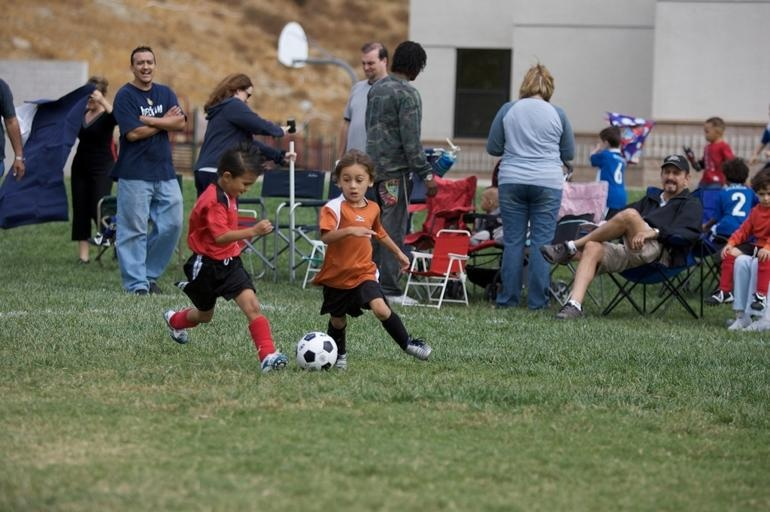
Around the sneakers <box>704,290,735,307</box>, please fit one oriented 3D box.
[{"bbox_3d":[3.749,0.464,13.787,0.418,0.201,0.169,2,-2,-19],"label":"sneakers"}]

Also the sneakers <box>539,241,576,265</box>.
[{"bbox_3d":[1.871,-0.045,13.649,0.406,0.197,0.197,-3,-17,-30],"label":"sneakers"}]

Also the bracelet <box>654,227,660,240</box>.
[{"bbox_3d":[2.957,-0.255,13.604,0.064,0.095,0.028,0,-3,-21],"label":"bracelet"}]

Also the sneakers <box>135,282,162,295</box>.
[{"bbox_3d":[-2.628,0.370,14.014,0.321,0.141,0.109,6,-4,-26],"label":"sneakers"}]

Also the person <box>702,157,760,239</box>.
[{"bbox_3d":[4.194,-0.675,15.164,0.752,1.042,0.724,4,-3,-43],"label":"person"}]

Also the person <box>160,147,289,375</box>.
[{"bbox_3d":[-1.499,-0.007,11.826,1.262,2.093,0.618,5,7,36],"label":"person"}]

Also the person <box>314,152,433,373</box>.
[{"bbox_3d":[-0.186,0.036,11.827,0.945,2.046,0.543,1,6,-3],"label":"person"}]

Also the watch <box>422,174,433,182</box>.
[{"bbox_3d":[0.474,-0.858,13.716,0.080,0.073,0.063,16,-19,-40],"label":"watch"}]

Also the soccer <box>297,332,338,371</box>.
[{"bbox_3d":[-0.649,0.912,11.910,0.340,0.362,0.363,-16,40,2],"label":"soccer"}]

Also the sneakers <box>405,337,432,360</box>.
[{"bbox_3d":[0.334,0.903,11.952,0.263,0.130,0.145,20,36,35],"label":"sneakers"}]

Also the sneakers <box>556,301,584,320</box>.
[{"bbox_3d":[1.997,0.601,13.507,0.135,0.142,0.321,1,-5,43],"label":"sneakers"}]

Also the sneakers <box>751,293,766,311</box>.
[{"bbox_3d":[3.924,0.478,13.137,0.119,0.173,0.172,6,-14,11],"label":"sneakers"}]

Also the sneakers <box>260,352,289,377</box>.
[{"bbox_3d":[-1.025,1.002,11.687,0.303,0.167,0.119,-18,-18,25],"label":"sneakers"}]
